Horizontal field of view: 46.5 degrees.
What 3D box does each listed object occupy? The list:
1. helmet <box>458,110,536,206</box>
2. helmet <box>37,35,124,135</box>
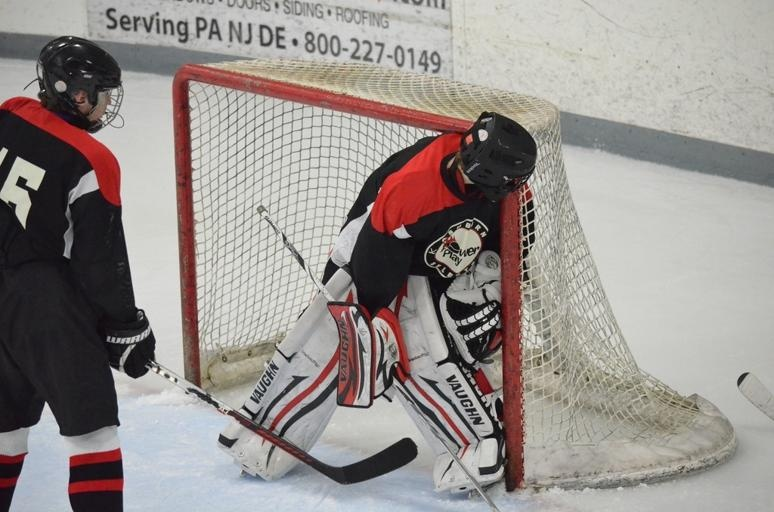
[{"bbox_3d":[0.374,-0.338,3.358,0.328,0.235,0.295,-25,-11,-3],"label":"helmet"},{"bbox_3d":[-1.115,-0.641,3.318,0.357,0.342,0.276,8,20,-27],"label":"helmet"}]
